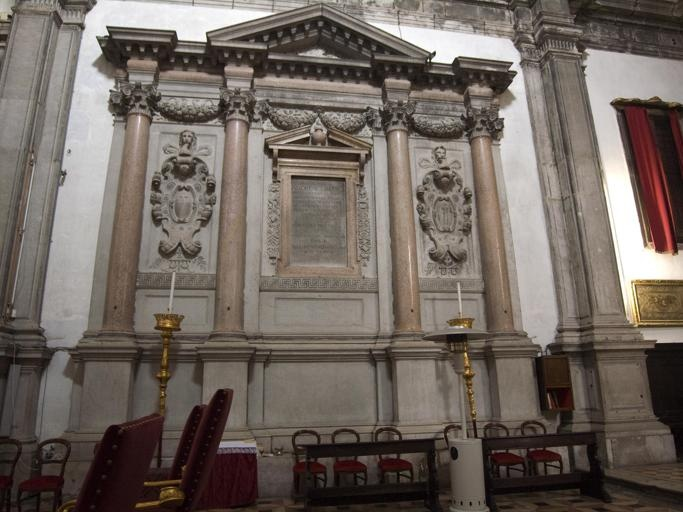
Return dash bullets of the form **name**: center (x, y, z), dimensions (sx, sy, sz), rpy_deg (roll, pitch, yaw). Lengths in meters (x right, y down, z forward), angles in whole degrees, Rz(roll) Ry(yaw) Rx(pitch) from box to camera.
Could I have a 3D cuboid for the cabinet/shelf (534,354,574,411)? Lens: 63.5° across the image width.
- **cabinet/shelf**: center (3.340, 1.992, 8.642), dimensions (0.538, 0.856, 0.337), rpy_deg (-1, -15, 1)
